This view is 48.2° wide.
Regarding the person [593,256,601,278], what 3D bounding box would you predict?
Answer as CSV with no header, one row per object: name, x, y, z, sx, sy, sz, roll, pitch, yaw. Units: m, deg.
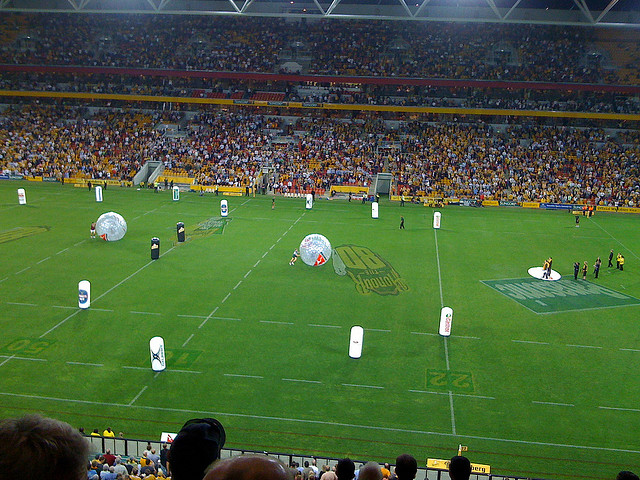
person,23.824,2.432,61.733,0.450,1.563,1.628,7,13,20

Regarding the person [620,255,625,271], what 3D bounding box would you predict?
person,26.821,2.010,63.687,0.456,1.254,1.636,7,13,22

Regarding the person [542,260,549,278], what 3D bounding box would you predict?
person,19.204,2.538,60.988,0.428,1.353,0.865,6,12,19

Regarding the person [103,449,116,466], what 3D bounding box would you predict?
person,-11.703,11.987,39.391,0.348,0.955,0.292,-8,-23,-30

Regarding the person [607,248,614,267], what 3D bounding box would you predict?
person,26.085,1.656,64.290,0.430,1.562,2.145,7,13,22

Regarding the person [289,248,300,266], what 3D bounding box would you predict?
person,-2.432,1.435,62.602,1.240,1.810,0.784,-2,43,-20
